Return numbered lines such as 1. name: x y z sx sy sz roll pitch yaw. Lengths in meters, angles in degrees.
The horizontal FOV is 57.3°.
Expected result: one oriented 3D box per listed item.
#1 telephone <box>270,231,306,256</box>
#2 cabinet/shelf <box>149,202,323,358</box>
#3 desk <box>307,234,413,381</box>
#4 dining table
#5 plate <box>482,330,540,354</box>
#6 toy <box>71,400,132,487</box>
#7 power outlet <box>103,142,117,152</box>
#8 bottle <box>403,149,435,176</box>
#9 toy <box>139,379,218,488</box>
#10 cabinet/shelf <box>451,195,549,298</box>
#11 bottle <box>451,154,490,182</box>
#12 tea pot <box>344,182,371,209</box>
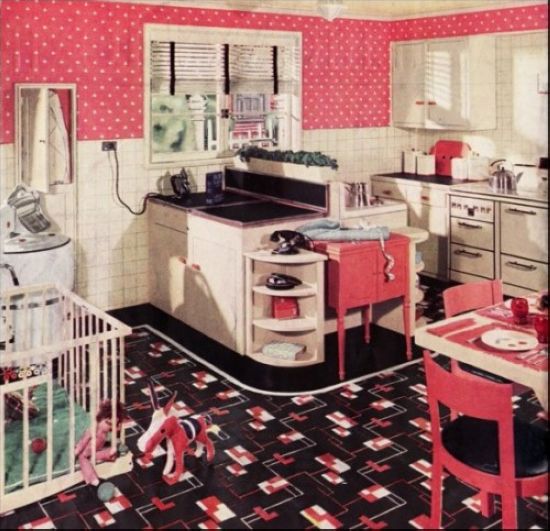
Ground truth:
1. telephone: 0.097 -0.184 3.927 0.295 0.164 0.201 2 7 18
2. cabinet/shelf: -0.247 -0.082 4.938 1.310 1.439 2.354 -5 10 -37
3. desk: 0.644 0.272 4.264 0.872 0.963 0.651 -8 10 -35
4. dining table: 1.024 0.324 2.234 0.536 0.209 0.767 -11 15 -34
5. plate: 1.028 0.325 2.184 0.211 0.028 0.286 8 15 37
6. toy: -0.870 0.888 2.588 0.188 0.433 0.317 3 13 20
7. power outlet: -1.608 -1.171 4.931 0.107 0.063 0.013 -4 18 -25
8. bottle: 1.902 -1.350 6.608 0.135 0.235 0.395 -10 17 -31
9. toy: -0.520 0.820 2.772 0.450 0.586 0.665 -3 12 -7
10. cabinet/shelf: 2.262 -0.223 4.979 0.461 0.947 1.115 -5 9 -33
11. bottle: 2.322 -1.167 6.002 0.363 0.209 0.354 -2 10 0
12. tea pot: 0.889 -0.750 5.328 0.257 0.238 0.542 0 12 8
